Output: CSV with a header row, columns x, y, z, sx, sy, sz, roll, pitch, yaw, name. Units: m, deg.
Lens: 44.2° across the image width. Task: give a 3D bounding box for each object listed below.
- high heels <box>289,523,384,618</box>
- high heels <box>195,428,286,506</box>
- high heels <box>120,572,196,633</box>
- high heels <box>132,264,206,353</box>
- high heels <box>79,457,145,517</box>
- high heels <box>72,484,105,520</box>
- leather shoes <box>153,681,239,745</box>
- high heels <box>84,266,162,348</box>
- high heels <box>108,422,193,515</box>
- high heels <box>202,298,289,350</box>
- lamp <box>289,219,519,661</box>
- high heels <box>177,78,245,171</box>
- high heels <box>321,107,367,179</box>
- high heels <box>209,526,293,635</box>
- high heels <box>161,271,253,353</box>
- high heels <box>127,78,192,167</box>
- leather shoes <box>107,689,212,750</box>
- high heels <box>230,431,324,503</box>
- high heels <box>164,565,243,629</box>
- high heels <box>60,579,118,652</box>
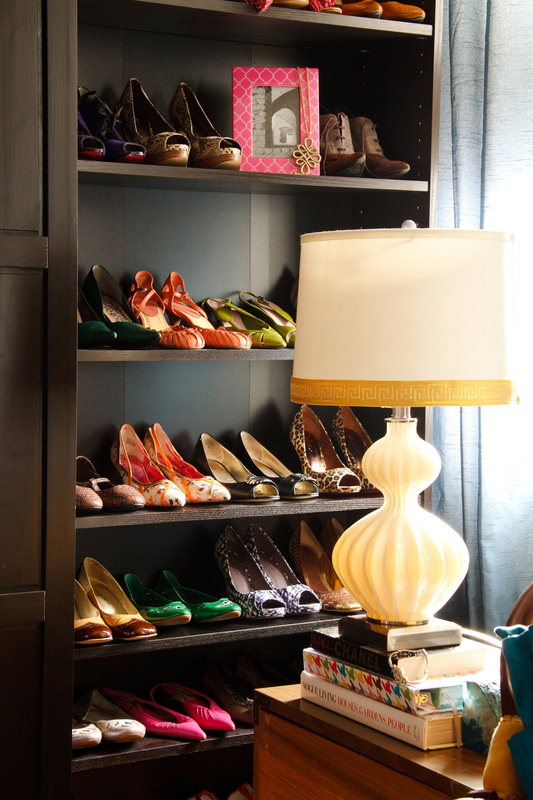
x,y,z,sx,sy,sz,roll,pitch,yaw,name
0.148,0.450,1.729,0.123,0.145,0.371,6,7,-20,high heels
-0.074,0.178,1.654,0.093,0.110,0.274,-7,14,-36,high heels
-0.255,0.465,1.538,0.074,0.071,0.223,6,-2,-29,high heels
-0.259,-0.216,1.557,0.083,0.119,0.285,-11,33,-26,high heels
-0.362,0.187,1.444,0.208,0.078,0.069,11,20,34,high heels
-0.358,0.208,1.352,0.044,0.031,0.085,2,19,-25,high heels
-0.167,0.695,1.519,0.075,0.057,0.261,-3,-2,-32,leather shoes
-0.350,-0.223,1.532,0.243,0.096,0.080,36,28,29,high heels
-0.281,0.162,1.532,0.082,0.098,0.248,-13,34,-38,high heels
-0.070,-0.201,1.693,0.099,0.053,0.300,-14,40,-41,high heels
0.189,0.028,0.836,0.276,0.530,0.212,-1,2,-14,lamp
-0.151,-0.647,1.576,0.089,0.092,0.278,-14,53,-35,high heels
0.189,-0.659,1.705,0.064,0.131,0.187,-12,30,-31,high heels
-0.046,0.433,1.615,0.089,0.111,0.273,0,17,-30,high heels
-0.168,-0.212,1.596,0.111,0.137,0.335,-5,20,-34,high heels
-0.264,-0.649,1.533,0.101,0.117,0.308,-14,40,-30,high heels
-0.254,0.673,1.453,0.077,0.039,0.269,5,0,-31,leather shoes
0.048,0.170,1.692,0.078,0.087,0.244,-17,22,-24,high heels
-0.162,0.471,1.566,0.241,0.103,0.079,-7,-8,44,high heels
-0.389,0.458,1.415,0.068,0.088,0.209,3,2,-26,high heels
